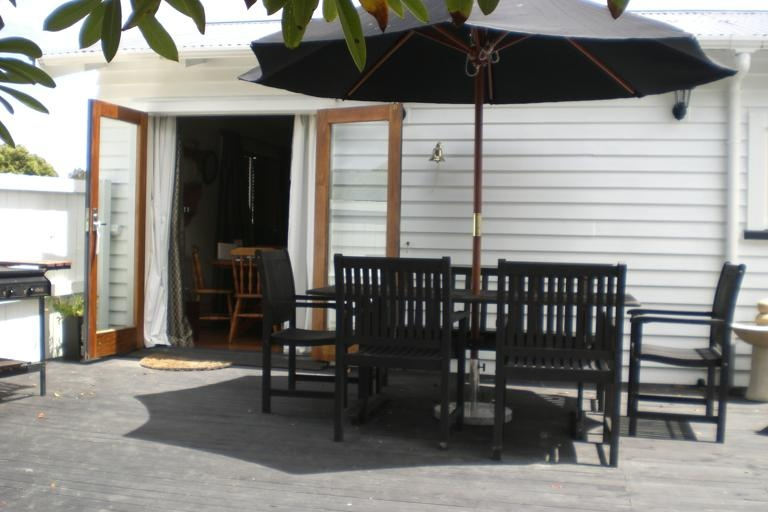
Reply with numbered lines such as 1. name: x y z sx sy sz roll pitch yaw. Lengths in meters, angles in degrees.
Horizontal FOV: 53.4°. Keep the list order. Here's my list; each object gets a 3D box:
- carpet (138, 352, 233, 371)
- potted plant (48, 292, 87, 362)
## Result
1. carpet: -1.982 1.059 7.514 0.916 0.050 0.514 3 9 13
2. potted plant: -3.200 0.704 7.736 0.336 0.636 0.633 -3 10 -23
